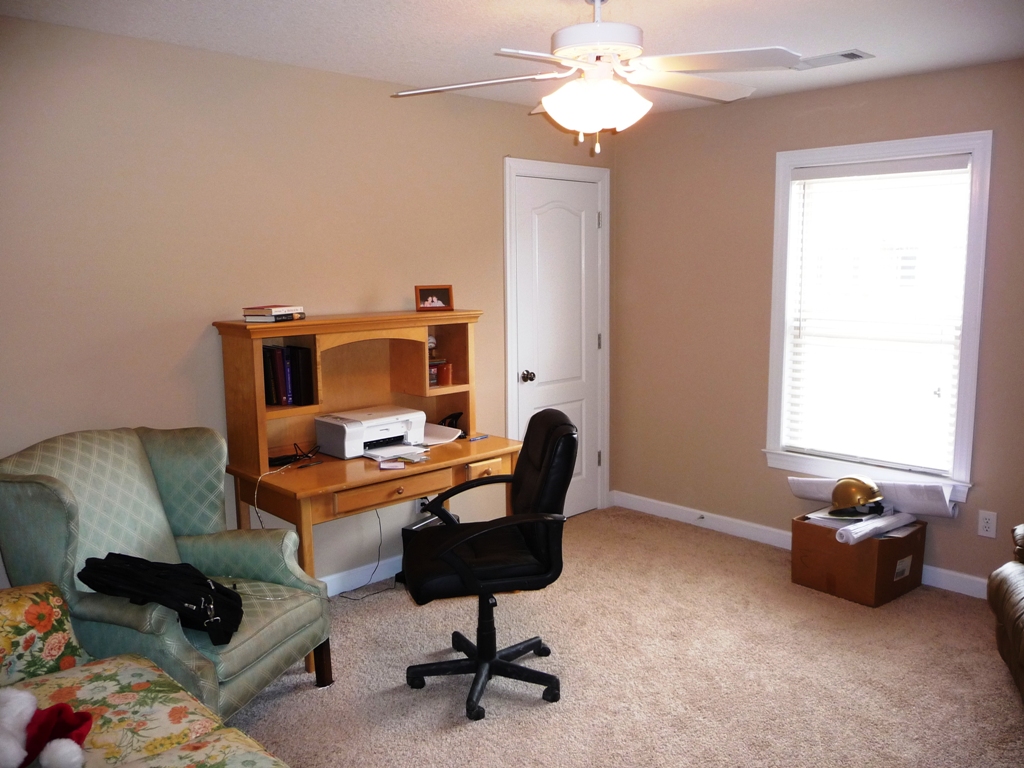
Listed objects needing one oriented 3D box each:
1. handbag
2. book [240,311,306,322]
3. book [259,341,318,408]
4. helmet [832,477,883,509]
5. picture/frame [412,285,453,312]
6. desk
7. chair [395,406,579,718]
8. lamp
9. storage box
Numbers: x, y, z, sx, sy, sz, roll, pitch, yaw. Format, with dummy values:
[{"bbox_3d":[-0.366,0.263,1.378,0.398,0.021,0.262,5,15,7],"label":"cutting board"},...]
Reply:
[{"bbox_3d":[-1.366,0.828,3.126,0.491,0.142,0.377,21,6,1],"label":"handbag"},{"bbox_3d":[-1.193,-0.338,4.004,0.287,0.049,0.135,-2,8,-16],"label":"book"},{"bbox_3d":[-1.142,-0.043,4.115,0.279,0.377,0.375,-3,8,-16],"label":"book"},{"bbox_3d":[1.978,0.621,4.562,0.235,0.145,0.157,-7,5,26],"label":"helmet"},{"bbox_3d":[-0.458,-0.497,4.635,0.187,0.128,0.019,-2,0,-27],"label":"picture/frame"},{"bbox_3d":[-0.794,0.552,4.053,0.747,1.813,1.621,6,11,41],"label":"desk"},{"bbox_3d":[-0.123,0.786,3.736,0.770,1.320,0.682,-1,9,-7],"label":"chair"},{"bbox_3d":[0.309,-1.017,3.018,0.326,0.234,0.319,1,11,6],"label":"lamp"},{"bbox_3d":[1.995,0.897,4.531,0.543,0.351,0.541,-6,10,-43],"label":"storage box"}]
